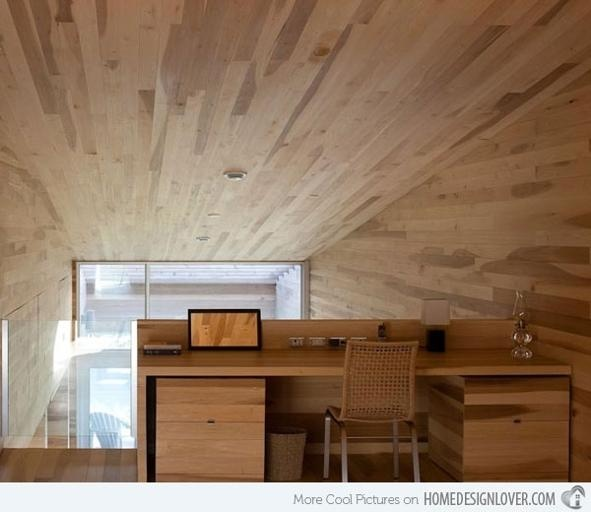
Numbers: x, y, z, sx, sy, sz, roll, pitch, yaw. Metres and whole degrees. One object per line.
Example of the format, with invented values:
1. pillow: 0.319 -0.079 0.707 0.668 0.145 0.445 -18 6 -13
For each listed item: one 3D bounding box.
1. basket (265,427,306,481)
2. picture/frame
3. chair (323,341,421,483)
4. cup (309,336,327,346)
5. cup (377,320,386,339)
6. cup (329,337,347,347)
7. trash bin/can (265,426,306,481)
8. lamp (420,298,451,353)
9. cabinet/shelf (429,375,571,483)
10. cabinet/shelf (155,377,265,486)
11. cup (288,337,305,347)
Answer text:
1. basket: -0.095 1.331 3.207 0.332 0.239 0.320 -1 -26 1
2. picture/frame: -0.517 0.524 3.427 0.514 0.286 0.021 6 -27 -28
3. chair: 0.463 0.938 2.929 0.643 0.829 0.358 -6 -15 10
4. cup: 0.167 0.600 3.479 0.103 0.043 0.069 0 -2 2
5. cup: 0.631 0.546 3.500 0.066 0.130 0.042 -6 -15 7
6. cup: 0.305 0.618 3.474 0.108 0.061 0.094 0 0 7
7. trash bin/can: -0.035 1.332 3.198 0.295 0.220 0.301 -7 -29 12
8. lamp: 1.018 0.517 3.511 0.250 0.381 0.225 -1 -5 10
9. cabinet/shelf: 1.365 1.059 3.322 0.765 0.587 0.712 0 -4 4
10. cabinet/shelf: -0.534 1.062 2.890 0.710 0.573 0.345 1 -2 0
11. cup: 0.020 0.617 3.463 0.121 0.068 0.061 0 1 5
